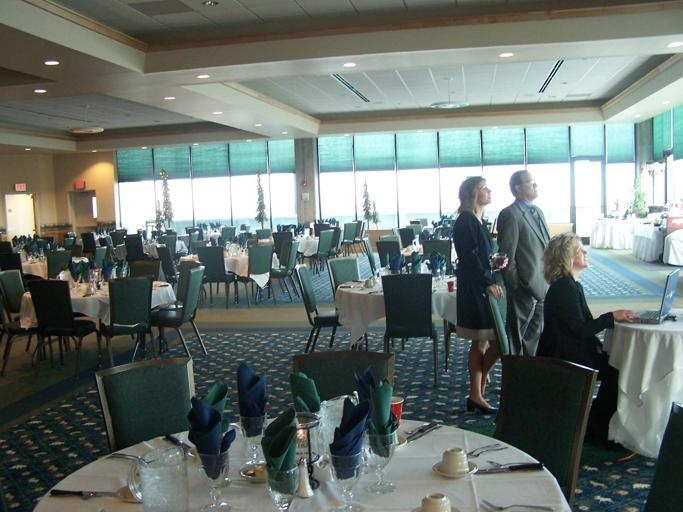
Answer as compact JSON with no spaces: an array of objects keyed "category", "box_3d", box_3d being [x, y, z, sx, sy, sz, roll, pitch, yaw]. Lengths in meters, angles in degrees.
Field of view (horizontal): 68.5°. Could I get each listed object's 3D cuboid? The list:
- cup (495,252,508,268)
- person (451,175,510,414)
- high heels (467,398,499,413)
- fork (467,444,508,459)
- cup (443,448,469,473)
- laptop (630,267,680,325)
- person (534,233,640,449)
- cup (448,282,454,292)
[{"category":"cup","box_3d":[1.333,0.026,4.246,0.109,0.112,0.110,-1,7,0]},{"category":"person","box_3d":[1.114,0.303,4.038,0.435,1.927,0.662,-2,6,18]},{"category":"high heels","box_3d":[1.137,1.236,4.157,0.316,0.136,0.117,-1,-3,10]},{"category":"fork","box_3d":[0.591,0.787,2.046,0.190,0.008,0.064,-5,5,-20]},{"category":"cup","box_3d":[0.429,0.768,1.884,0.084,0.082,0.084,0,-2,0]},{"category":"laptop","box_3d":[2.197,0.259,3.480,0.218,0.318,0.540,0,6,39]},{"category":"person","box_3d":[1.650,0.571,3.507,0.493,1.462,0.287,-1,6,28]},{"category":"cup","box_3d":[1.102,0.295,5.037,0.082,0.093,0.081,-1,1,0]}]
